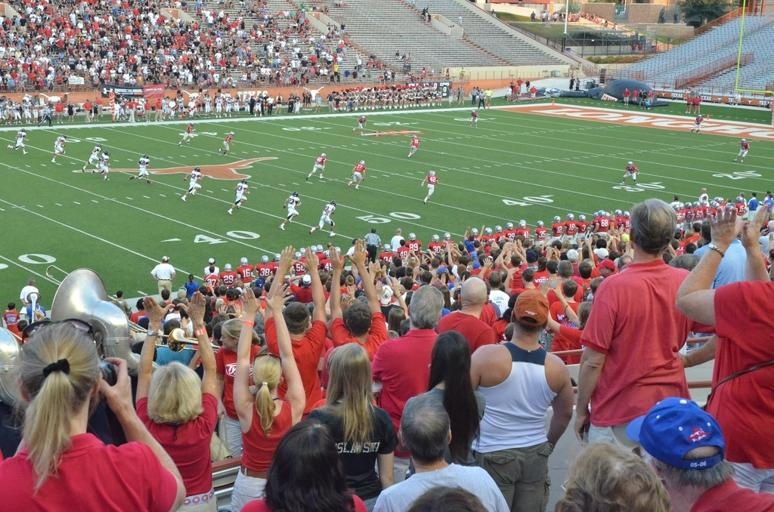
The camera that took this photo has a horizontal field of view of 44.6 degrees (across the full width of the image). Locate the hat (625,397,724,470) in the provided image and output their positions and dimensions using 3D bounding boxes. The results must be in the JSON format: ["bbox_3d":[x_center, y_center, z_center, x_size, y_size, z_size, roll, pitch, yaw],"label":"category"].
[{"bbox_3d":[2.021,1.131,6.538,0.530,0.338,0.792,-10,17,-3],"label":"hat"}]

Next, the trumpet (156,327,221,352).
[{"bbox_3d":[-1.814,0.765,8.632,0.479,0.250,0.254,7,46,9],"label":"trumpet"}]

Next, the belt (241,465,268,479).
[{"bbox_3d":[-1.055,1.721,7.534,0.182,0.055,0.197,2,1,12],"label":"belt"}]

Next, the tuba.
[{"bbox_3d":[-2.545,0.565,8.268,0.772,0.858,0.590,2,6,37],"label":"tuba"}]
